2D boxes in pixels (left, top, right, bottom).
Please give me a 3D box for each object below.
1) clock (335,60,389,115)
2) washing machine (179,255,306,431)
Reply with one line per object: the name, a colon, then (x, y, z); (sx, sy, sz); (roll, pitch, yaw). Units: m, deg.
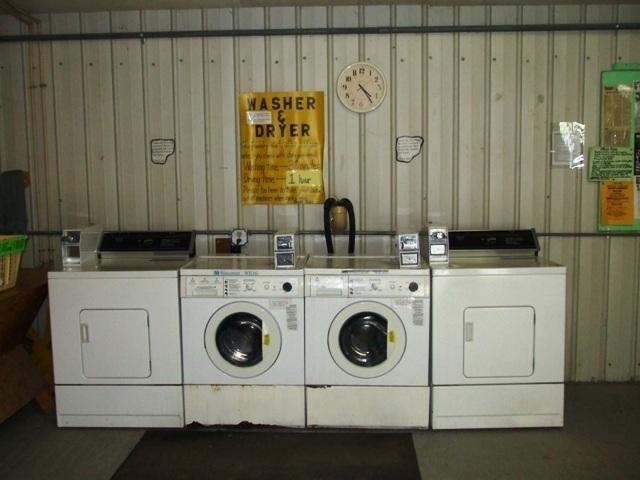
clock: (0.393, -1.386, 5.630); (0.395, 0.464, 0.045); (1, 6, -4)
washing machine: (-0.622, 0.845, 5.542); (1.120, 1.793, 1.140); (0, 0, -1)
